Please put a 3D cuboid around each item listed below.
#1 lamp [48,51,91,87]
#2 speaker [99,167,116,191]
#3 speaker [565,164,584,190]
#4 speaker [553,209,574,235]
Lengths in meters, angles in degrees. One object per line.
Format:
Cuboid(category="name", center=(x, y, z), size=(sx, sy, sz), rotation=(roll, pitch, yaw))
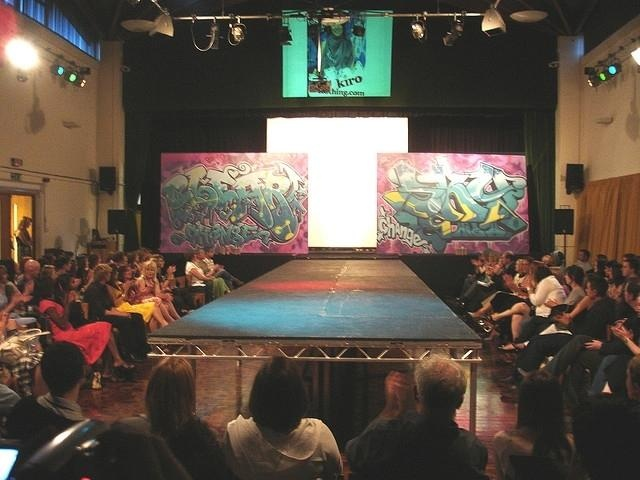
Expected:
Cuboid(category="lamp", center=(-4.808, -3.237, 10.493), size=(0.701, 0.507, 0.696), rotation=(2, -2, -38))
Cuboid(category="speaker", center=(-4.557, -1.293, 11.902), size=(0.361, 0.571, 0.156), rotation=(1, -2, 6))
Cuboid(category="speaker", center=(5.228, -1.300, 11.367), size=(0.370, 0.513, 0.122), rotation=(1, -2, -3))
Cuboid(category="speaker", center=(4.795, -0.369, 10.896), size=(0.359, 0.521, 0.477), rotation=(0, -5, 7))
